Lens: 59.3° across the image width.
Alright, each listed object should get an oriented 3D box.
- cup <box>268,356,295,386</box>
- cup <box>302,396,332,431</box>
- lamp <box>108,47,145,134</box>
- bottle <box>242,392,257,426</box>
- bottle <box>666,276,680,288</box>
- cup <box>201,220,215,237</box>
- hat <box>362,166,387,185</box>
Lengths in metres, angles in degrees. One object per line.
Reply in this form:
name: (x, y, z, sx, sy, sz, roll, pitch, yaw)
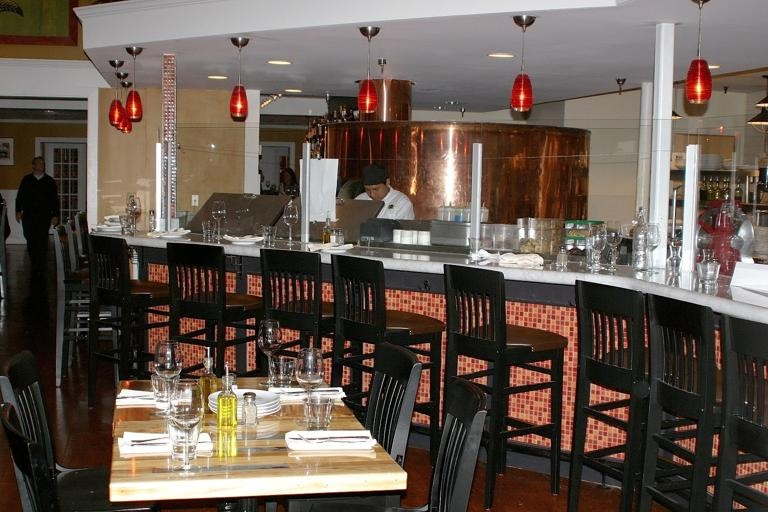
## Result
cup: (-0.506, 0.559, 3.360, 0.148, 0.119, 0.133, -1, 3, -24)
cup: (-0.292, 0.677, 2.996, 0.123, 0.149, 0.167, -2, 5, -7)
lamp: (-3.231, -2.106, 8.425, 0.226, 0.808, 0.926, 1, 5, -12)
bottle: (-0.606, 0.676, 3.043, 0.064, 0.123, 0.154, -2, 5, -11)
bottle: (1.733, 0.152, 4.041, 0.060, 0.054, 0.098, -1, -5, 12)
cup: (-1.697, -0.261, 6.558, 0.191, 0.203, 0.184, 0, 1, 0)
hat: (-0.095, -0.812, 6.673, 0.196, 0.148, 0.197, 1, 11, 7)
